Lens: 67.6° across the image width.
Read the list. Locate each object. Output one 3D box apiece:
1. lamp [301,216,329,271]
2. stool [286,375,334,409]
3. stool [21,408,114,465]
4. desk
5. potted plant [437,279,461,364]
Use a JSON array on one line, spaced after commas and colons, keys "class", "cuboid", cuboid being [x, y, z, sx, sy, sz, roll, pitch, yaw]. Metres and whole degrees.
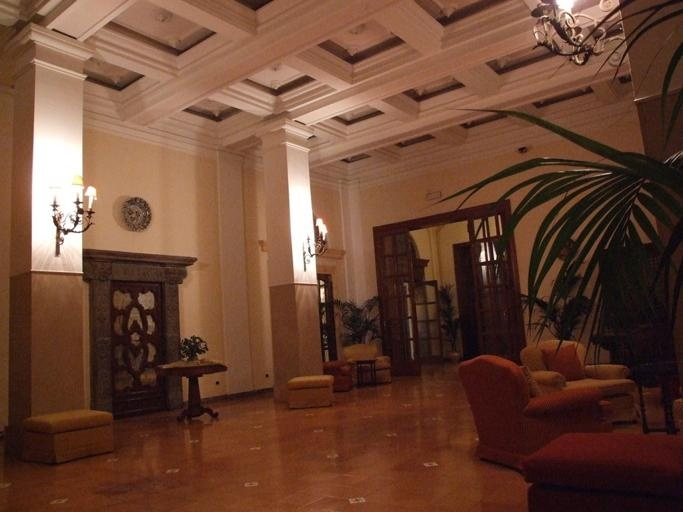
[{"class": "lamp", "cuboid": [-0.523, -0.176, 10.278, 0.462, 0.967, 0.406, 2, -5, -5]}, {"class": "stool", "cuboid": [-0.558, 2.308, 8.796, 0.594, 0.393, 0.598, -2, -11, -2]}, {"class": "stool", "cuboid": [-3.199, 2.122, 6.021, 0.584, 0.462, 0.804, -8, -11, 28]}, {"class": "desk", "cuboid": [-2.395, 2.197, 8.389, 1.134, 0.920, 1.160, -4, -3, 9]}, {"class": "potted plant", "cuboid": [3.418, 2.027, 16.130, 0.560, 2.302, 0.415, -5, -8, 11]}]
